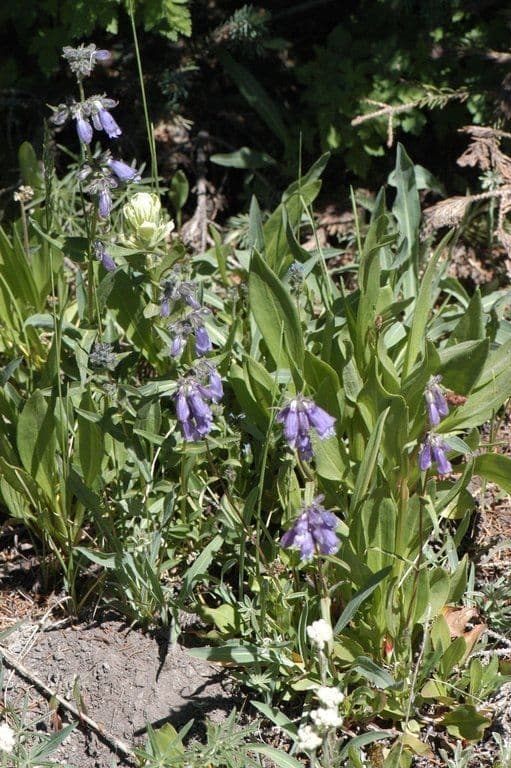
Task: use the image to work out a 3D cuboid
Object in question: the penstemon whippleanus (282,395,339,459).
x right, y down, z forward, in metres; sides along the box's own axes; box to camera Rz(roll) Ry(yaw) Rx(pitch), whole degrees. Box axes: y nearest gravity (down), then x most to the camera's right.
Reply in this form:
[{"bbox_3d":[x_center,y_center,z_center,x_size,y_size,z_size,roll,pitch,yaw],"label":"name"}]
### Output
[{"bbox_3d":[0.118,0.081,1.644,0.139,0.138,0.076,-23,30,2],"label":"penstemon whippleanus"}]
